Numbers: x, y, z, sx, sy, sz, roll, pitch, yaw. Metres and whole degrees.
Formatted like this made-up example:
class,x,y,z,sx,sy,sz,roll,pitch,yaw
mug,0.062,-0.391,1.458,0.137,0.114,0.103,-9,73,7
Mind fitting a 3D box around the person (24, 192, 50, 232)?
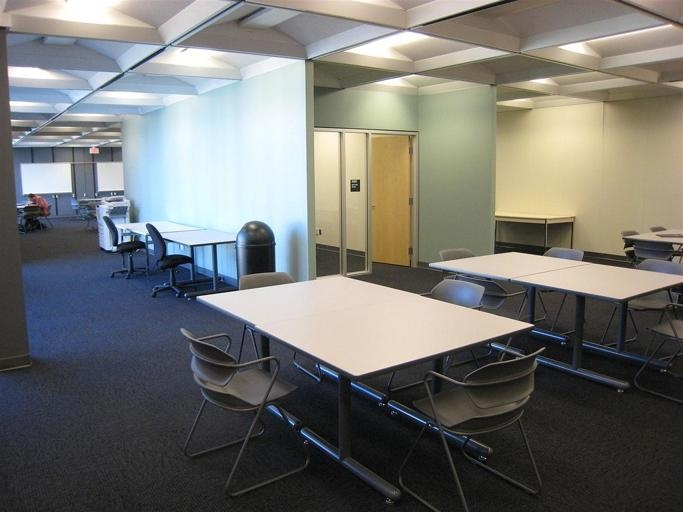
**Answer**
class,x,y,z,sx,sy,sz,roll,pitch,yaw
person,-10.826,-1.553,17.457,0.778,1.243,2.173,-7,12,-27
